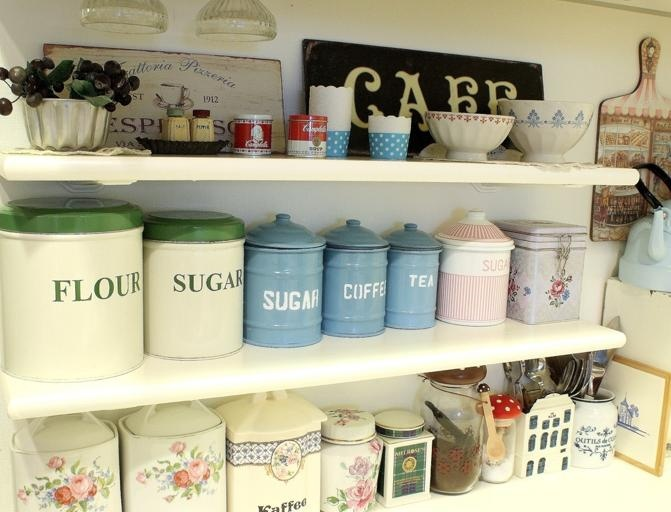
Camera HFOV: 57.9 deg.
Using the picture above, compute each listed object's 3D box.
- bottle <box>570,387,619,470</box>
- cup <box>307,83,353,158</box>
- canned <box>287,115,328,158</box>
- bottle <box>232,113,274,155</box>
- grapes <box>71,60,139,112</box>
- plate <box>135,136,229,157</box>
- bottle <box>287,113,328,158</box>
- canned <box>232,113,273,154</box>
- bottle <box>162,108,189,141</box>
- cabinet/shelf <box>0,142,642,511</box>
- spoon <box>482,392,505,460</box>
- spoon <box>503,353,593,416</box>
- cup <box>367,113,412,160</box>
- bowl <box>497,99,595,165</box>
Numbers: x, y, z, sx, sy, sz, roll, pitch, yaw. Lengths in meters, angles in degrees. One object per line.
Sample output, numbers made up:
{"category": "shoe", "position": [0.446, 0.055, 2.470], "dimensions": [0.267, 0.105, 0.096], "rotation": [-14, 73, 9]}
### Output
{"category": "bottle", "position": [0.671, 0.461, 1.662], "dimensions": [0.170, 0.175, 0.165], "rotation": [1, 2, -3]}
{"category": "cup", "position": [0.007, -0.285, 1.286], "dimensions": [0.126, 0.196, 0.132], "rotation": [0, 9, 0]}
{"category": "canned", "position": [-0.055, -0.223, 1.132], "dimensions": [0.078, 0.082, 0.080], "rotation": [2, 4, 20]}
{"category": "bottle", "position": [-0.151, -0.223, 1.123], "dimensions": [0.077, 0.069, 0.075], "rotation": [1, 4, -3]}
{"category": "grapes", "position": [-0.383, -0.284, 1.003], "dimensions": [0.096, 0.049, 0.100], "rotation": [17, 19, -20]}
{"category": "plate", "position": [-0.287, -0.203, 1.120], "dimensions": [0.165, 0.033, 0.069], "rotation": [-2, 9, -7]}
{"category": "bottle", "position": [-0.056, -0.223, 1.132], "dimensions": [0.079, 0.083, 0.081], "rotation": [5, 6, 43]}
{"category": "canned", "position": [-0.153, -0.221, 1.126], "dimensions": [0.074, 0.070, 0.075], "rotation": [5, 6, 38]}
{"category": "bottle", "position": [-0.298, -0.245, 1.129], "dimensions": [0.048, 0.056, 0.025], "rotation": [-4, 10, -14]}
{"category": "cabinet/shelf", "position": [0.007, 0.017, 1.199], "dimensions": [1.235, 0.464, 0.188], "rotation": [-5, 10, -19]}
{"category": "spoon", "position": [0.364, 0.409, 1.431], "dimensions": [0.044, 0.180, 0.033], "rotation": [-6, 29, 23]}
{"category": "spoon", "position": [0.570, 0.323, 1.615], "dimensions": [0.201, 0.065, 0.145], "rotation": [-8, 11, -26]}
{"category": "cup", "position": [0.106, -0.237, 1.213], "dimensions": [0.092, 0.078, 0.085], "rotation": [0, 7, 0]}
{"category": "bowl", "position": [0.468, -0.272, 1.314], "dimensions": [0.164, 0.107, 0.161], "rotation": [1, 5, 0]}
